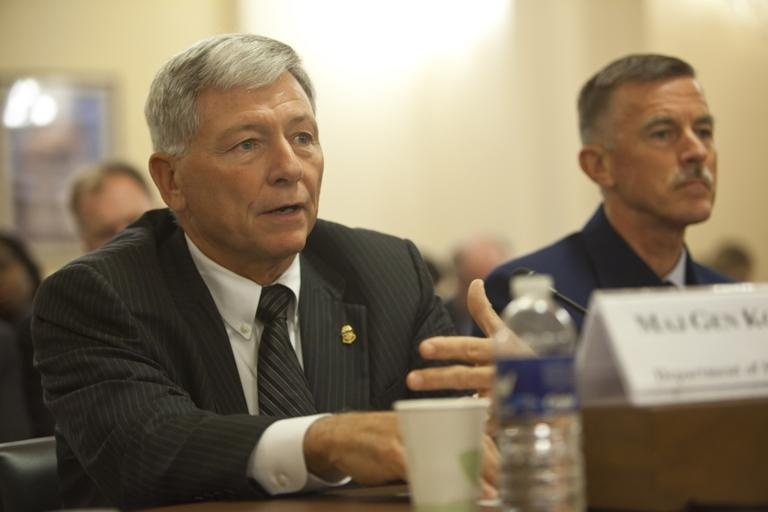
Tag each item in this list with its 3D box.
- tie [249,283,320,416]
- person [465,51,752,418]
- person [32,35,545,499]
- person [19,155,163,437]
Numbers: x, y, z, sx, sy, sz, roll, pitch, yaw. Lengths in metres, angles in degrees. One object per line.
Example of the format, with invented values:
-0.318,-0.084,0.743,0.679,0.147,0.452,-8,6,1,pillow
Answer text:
-0.269,0.188,2.027,0.108,0.082,0.273,-22,28,-2,tie
0.995,-0.099,2.703,1.176,1.147,0.767,1,-5,-29,person
-0.421,0.100,2.270,0.995,1.082,1.341,1,-15,-40,person
-1.027,0.145,3.106,0.318,0.874,0.642,24,36,15,person
